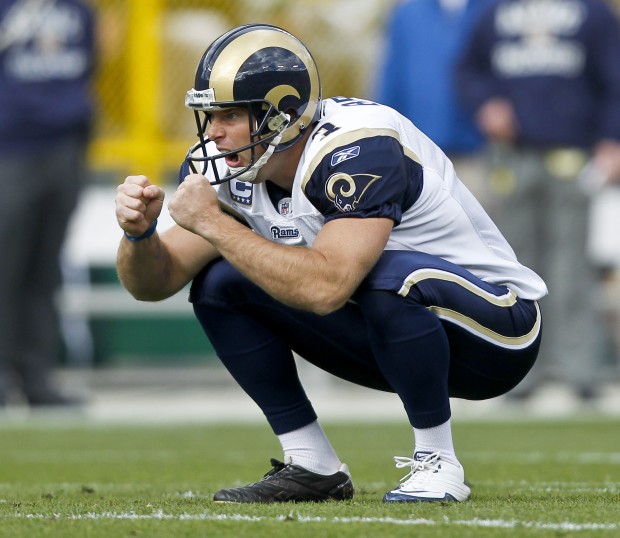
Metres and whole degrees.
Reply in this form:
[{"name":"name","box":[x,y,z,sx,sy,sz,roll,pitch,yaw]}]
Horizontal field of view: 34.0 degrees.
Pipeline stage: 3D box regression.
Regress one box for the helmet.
[{"name":"helmet","box":[-0.132,-0.490,2.708,0.384,0.287,0.278,-18,15,-38]}]

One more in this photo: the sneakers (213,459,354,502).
[{"name":"sneakers","box":[-0.044,0.582,2.750,0.418,0.125,0.129,3,-19,-15]}]

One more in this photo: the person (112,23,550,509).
[{"name":"person","box":[0.089,0.023,2.903,1.342,1.266,0.939,2,-6,-12]}]

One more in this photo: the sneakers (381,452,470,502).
[{"name":"sneakers","box":[0.313,0.547,2.649,0.233,0.099,0.109,4,-10,-25]}]
